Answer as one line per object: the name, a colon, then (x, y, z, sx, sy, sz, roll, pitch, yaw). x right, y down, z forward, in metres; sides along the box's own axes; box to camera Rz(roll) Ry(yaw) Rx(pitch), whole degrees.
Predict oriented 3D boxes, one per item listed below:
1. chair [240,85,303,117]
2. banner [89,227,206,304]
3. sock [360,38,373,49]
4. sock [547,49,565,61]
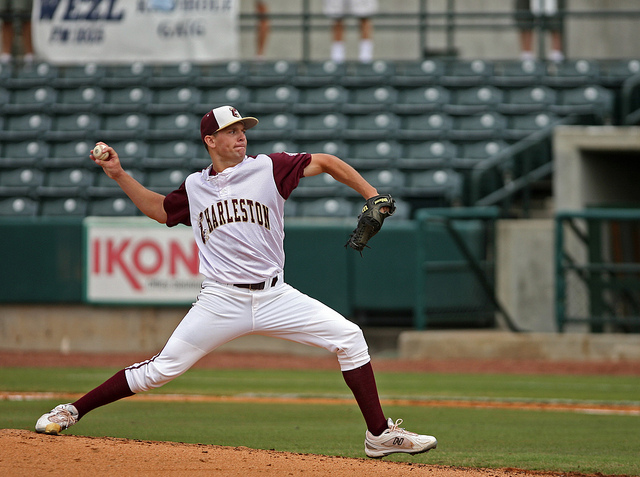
chair: (-0.685, -1.966, 18.095, 0.617, 0.395, 0.582, 1, -2, -2)
banner: (-2.024, 0.304, 15.900, 2.098, 1.074, 0.190, -1, 0, 22)
sock: (0.680, -2.874, 18.257, 0.186, 0.137, 0.069, 1, 8, 0)
sock: (3.456, -2.684, 18.183, 0.224, 0.138, 0.206, 3, -2, 10)
